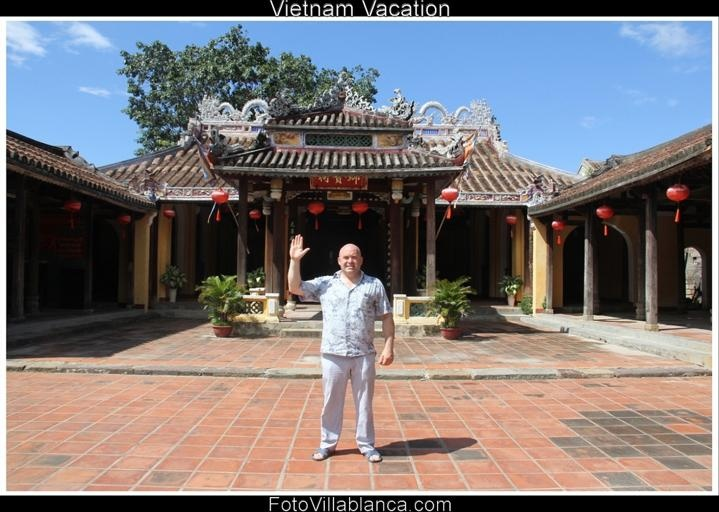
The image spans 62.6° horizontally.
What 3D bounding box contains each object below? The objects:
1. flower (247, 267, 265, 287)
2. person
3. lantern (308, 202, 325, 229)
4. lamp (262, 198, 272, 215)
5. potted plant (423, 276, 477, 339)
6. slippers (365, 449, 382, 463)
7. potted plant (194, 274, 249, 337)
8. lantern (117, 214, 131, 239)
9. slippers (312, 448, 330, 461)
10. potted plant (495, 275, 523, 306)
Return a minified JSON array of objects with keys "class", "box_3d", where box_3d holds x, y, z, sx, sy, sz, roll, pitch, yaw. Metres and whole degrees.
[{"class":"flower","box_3d":[-3.123,0.644,17.429,0.541,0.464,0.508,2,-10,-23]},{"class":"person","box_3d":[-0.209,1.043,6.978,1.171,2.564,0.846,2,11,11]},{"class":"lantern","box_3d":[-1.278,-1.212,17.286,0.662,0.893,0.567,2,13,4]},{"class":"lamp","box_3d":[-2.564,-1.370,16.232,0.234,0.516,0.351,-1,10,-7]},{"class":"potted plant","box_3d":[2.057,1.218,13.434,1.187,1.161,1.036,4,-15,-14]},{"class":"slippers","box_3d":[0.168,2.303,6.846,0.207,0.115,0.173,-3,10,-18]},{"class":"potted plant","box_3d":[-3.088,1.139,13.248,0.979,1.315,0.700,-3,11,-18]},{"class":"lantern","box_3d":[-6.741,-0.842,16.895,0.345,0.842,1.399,-4,10,-21]},{"class":"slippers","box_3d":[-0.449,2.293,6.867,0.221,0.122,0.142,0,9,-3]},{"class":"potted plant","box_3d":[4.637,1.039,18.073,0.623,0.846,0.805,-2,10,-14]}]
